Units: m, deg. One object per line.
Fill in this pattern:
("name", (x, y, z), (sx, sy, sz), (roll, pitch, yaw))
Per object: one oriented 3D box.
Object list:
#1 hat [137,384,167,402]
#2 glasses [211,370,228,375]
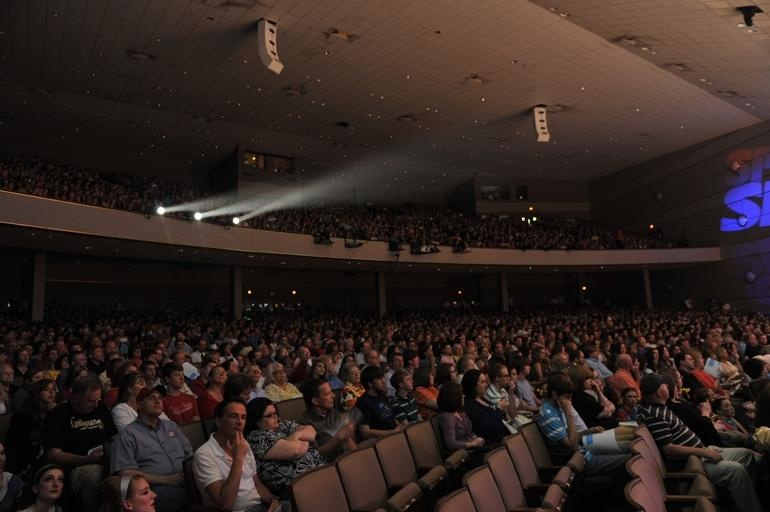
("hat", (-2.885, 1.709, 6.350), (0.414, 0.123, 0.247), (-32, -33, 26))
("glasses", (-2.299, 1.619, 7.112), (0.147, 0.067, 0.172), (8, -20, -45))
